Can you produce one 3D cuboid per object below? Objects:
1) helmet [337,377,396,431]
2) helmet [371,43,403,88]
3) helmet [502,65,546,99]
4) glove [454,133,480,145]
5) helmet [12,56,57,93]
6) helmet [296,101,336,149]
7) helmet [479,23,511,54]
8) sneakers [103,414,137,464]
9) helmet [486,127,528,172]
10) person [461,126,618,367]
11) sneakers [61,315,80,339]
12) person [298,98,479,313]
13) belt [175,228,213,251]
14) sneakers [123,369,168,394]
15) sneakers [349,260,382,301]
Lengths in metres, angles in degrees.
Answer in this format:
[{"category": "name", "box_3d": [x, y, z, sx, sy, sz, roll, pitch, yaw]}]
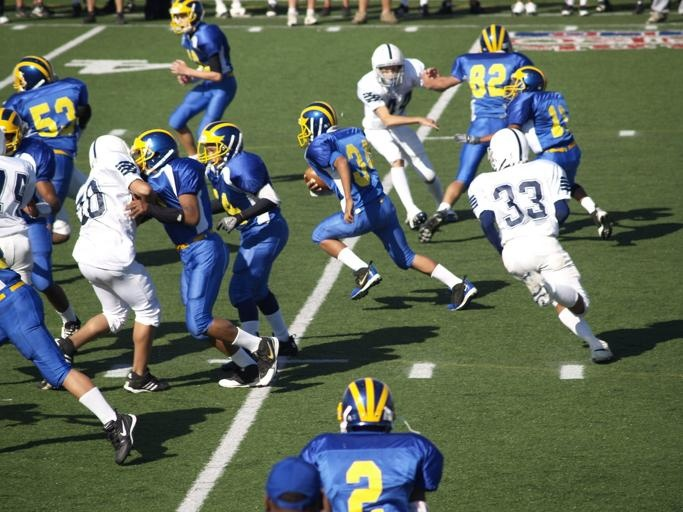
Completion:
[{"category": "helmet", "box_3d": [0.163, 0.847, 6.209, 0.382, 0.276, 0.415, -3, 1, 6]}, {"category": "helmet", "box_3d": [0.399, -1.827, 10.246, 0.381, 0.322, 0.392, -6, 35, -3]}, {"category": "helmet", "box_3d": [1.779, -1.684, 10.479, 0.453, 0.252, 0.273, -5, 10, -5]}, {"category": "glove", "box_3d": [1.166, -1.089, 10.125, 0.198, 0.042, 0.114, 3, 15, 24]}, {"category": "helmet", "box_3d": [-2.790, -1.659, 10.011, 0.432, 0.314, 0.325, 6, 17, 31]}, {"category": "helmet", "box_3d": [-0.094, -1.099, 9.197, 0.491, 0.362, 0.366, 3, 2, 24]}, {"category": "helmet", "box_3d": [1.549, -2.182, 11.006, 0.323, 0.286, 0.341, -1, -12, 6]}, {"category": "sneakers", "box_3d": [-1.430, 1.176, 7.101, 0.209, 0.351, 0.294, -10, 25, -16]}, {"category": "helmet", "box_3d": [1.302, -0.835, 8.341, 0.366, 0.293, 0.410, -4, -8, -11]}, {"category": "person", "box_3d": [1.432, -0.057, 8.229, 0.897, 1.889, 1.104, -21, -21, -1]}, {"category": "sneakers", "box_3d": [-2.131, 0.563, 8.497, 0.111, 0.095, 0.240, 18, 3, -8]}, {"category": "person", "box_3d": [0.216, -0.378, 8.975, 0.895, 1.626, 1.556, -24, 32, -38]}, {"category": "belt", "box_3d": [-1.077, -0.109, 7.912, 0.218, 0.055, 0.157, -24, -2, 23]}, {"category": "sneakers", "box_3d": [-1.419, 0.920, 7.871, 0.392, 0.132, 0.130, 0, 3, -17]}, {"category": "sneakers", "box_3d": [0.197, 0.228, 8.874, 0.234, 0.382, 0.233, -2, 25, 1]}]
